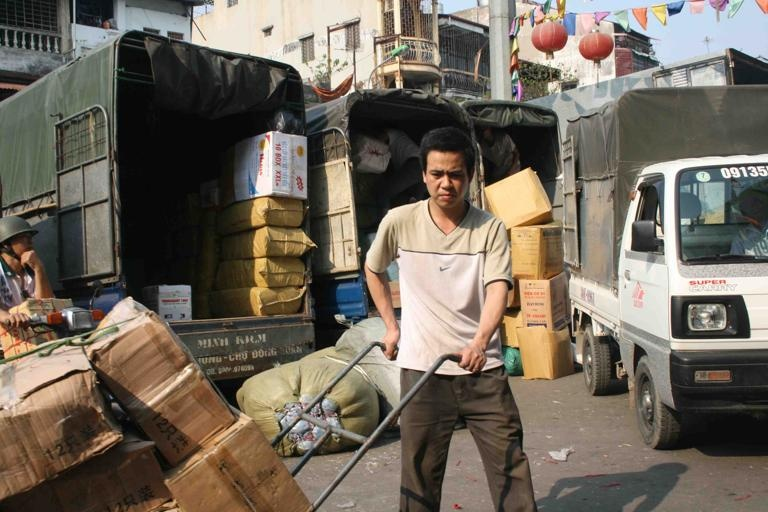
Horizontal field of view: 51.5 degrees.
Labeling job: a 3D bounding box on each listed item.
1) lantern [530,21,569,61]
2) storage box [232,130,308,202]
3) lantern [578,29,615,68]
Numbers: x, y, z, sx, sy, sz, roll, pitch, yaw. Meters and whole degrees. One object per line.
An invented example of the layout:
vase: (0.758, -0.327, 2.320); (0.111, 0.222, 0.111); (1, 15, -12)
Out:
lantern: (3.413, -4.525, 16.162); (0.716, 0.876, 0.763); (0, -15, -1)
storage box: (-1.480, -1.134, 10.376); (0.689, 0.985, 1.286); (-1, 1, -26)
lantern: (4.774, -4.597, 17.704); (0.670, 0.851, 0.747); (-3, -2, -6)
